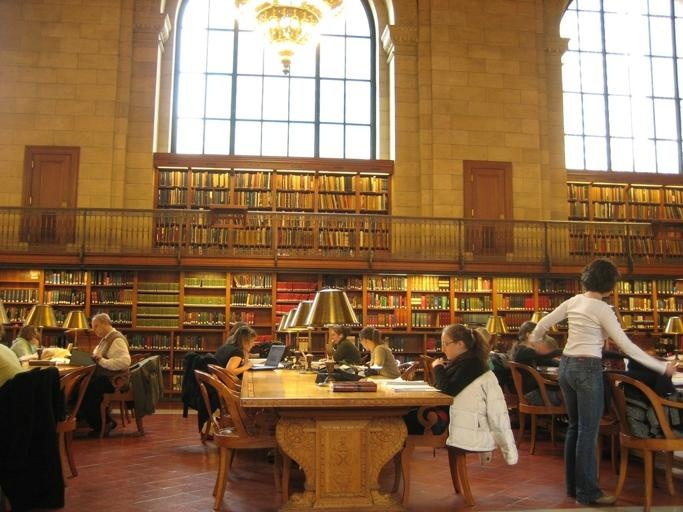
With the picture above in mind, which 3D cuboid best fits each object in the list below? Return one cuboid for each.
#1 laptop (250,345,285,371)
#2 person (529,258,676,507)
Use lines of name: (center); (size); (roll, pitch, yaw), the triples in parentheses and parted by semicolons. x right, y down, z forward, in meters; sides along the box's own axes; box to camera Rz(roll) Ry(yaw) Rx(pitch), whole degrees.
laptop: (-0.813, 1.159, 8.233); (0.294, 0.199, 0.325); (3, -5, -19)
person: (2.130, 1.077, 6.211); (1.005, 2.090, 0.396); (-1, -2, 23)
